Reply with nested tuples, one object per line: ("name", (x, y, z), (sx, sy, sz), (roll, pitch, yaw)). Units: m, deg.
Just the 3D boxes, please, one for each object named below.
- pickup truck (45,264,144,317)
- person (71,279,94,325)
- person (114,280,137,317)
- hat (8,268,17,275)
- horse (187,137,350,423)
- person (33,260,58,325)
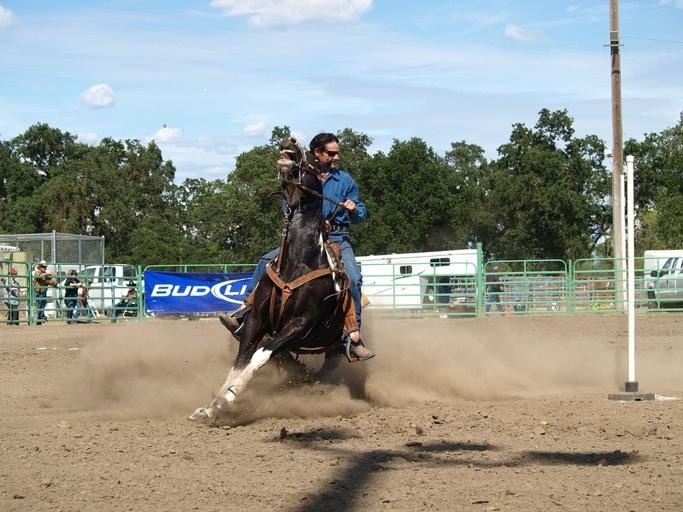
("pickup truck", (-7.189, 1.029, 29.671), (1.309, 1.302, 2.646), (-23, -18, 41))
("person", (-7.288, 1.355, 29.203), (0.773, 1.556, 0.482), (6, 10, 18))
("person", (-6.122, 1.215, 29.182), (0.777, 1.144, 0.699), (6, -13, -18))
("hat", (-8.832, 0.446, 27.852), (0.105, 0.122, 0.277), (0, -6, -5))
("horse", (-0.574, 0.414, 15.320), (1.304, 3.816, 4.215), (8, 7, 26))
("person", (-8.097, 1.036, 28.345), (0.594, 1.815, 1.578), (-3, 10, -15))
